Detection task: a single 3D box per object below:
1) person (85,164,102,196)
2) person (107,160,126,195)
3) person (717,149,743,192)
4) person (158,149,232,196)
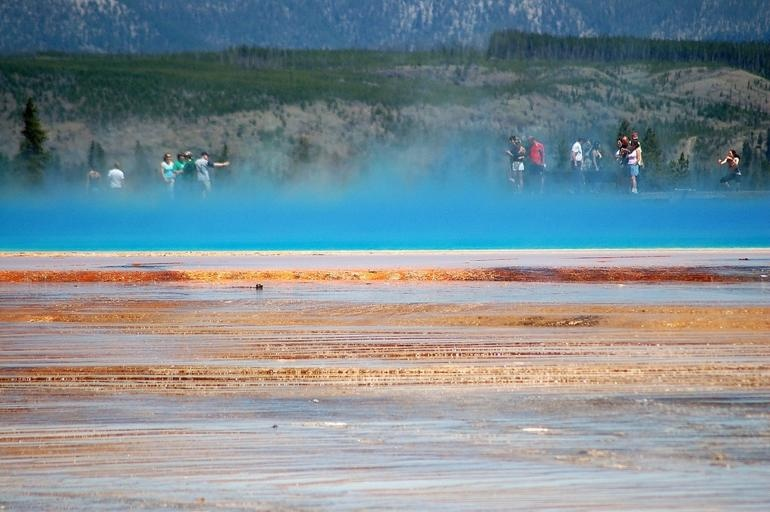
[{"bbox_3d":[-11.516,-2.860,72.638,0.584,1.057,0.412,-3,16,-28],"label":"person"},{"bbox_3d":[-10.509,-3.047,71.900,0.619,1.004,1.267,2,12,-8],"label":"person"},{"bbox_3d":[13.704,-3.261,73.782,1.228,1.855,0.908,7,30,22],"label":"person"},{"bbox_3d":[-7.513,-3.141,69.994,1.938,1.467,0.743,6,12,9],"label":"person"}]
